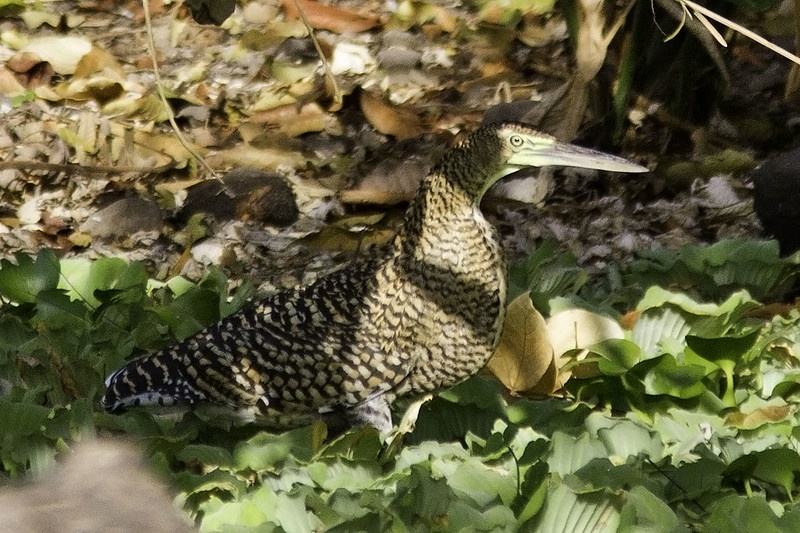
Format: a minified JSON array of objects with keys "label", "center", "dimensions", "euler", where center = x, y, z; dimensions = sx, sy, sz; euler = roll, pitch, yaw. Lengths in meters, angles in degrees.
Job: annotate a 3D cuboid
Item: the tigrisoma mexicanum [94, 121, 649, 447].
[{"label":"tigrisoma mexicanum","center":[-0.055,0.082,3.469],"dimensions":[1.304,0.709,0.476],"euler":[-15,46,-29]}]
